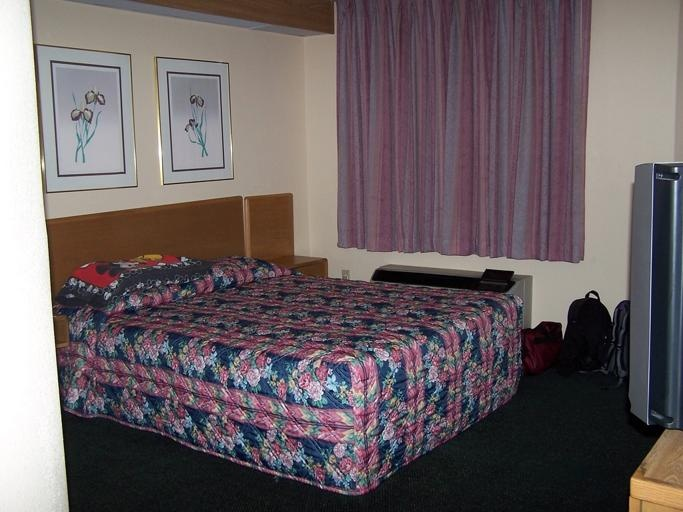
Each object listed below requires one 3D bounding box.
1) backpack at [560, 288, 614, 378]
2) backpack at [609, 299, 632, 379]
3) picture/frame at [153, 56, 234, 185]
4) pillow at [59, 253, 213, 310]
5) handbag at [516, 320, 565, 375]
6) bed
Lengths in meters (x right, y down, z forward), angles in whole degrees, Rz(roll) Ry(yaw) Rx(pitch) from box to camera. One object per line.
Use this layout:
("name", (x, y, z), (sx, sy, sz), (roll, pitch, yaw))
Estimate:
("backpack", (2.055, 0.652, 4.525), (0.413, 0.623, 0.306), (2, 10, 16))
("backpack", (2.236, 0.686, 4.333), (0.142, 0.600, 0.296), (4, 10, 26))
("picture/frame", (-1.410, -1.273, 5.019), (0.045, 1.479, 1.006), (10, 15, 40))
("pillow", (-1.723, 0.155, 4.127), (0.464, 0.202, 0.755), (13, 11, -5))
("handbag", (1.719, 0.772, 4.612), (0.314, 0.169, 0.421), (8, 18, 42))
("bed", (-0.486, 0.562, 3.599), (2.150, 1.286, 2.232), (6, 14, 34))
